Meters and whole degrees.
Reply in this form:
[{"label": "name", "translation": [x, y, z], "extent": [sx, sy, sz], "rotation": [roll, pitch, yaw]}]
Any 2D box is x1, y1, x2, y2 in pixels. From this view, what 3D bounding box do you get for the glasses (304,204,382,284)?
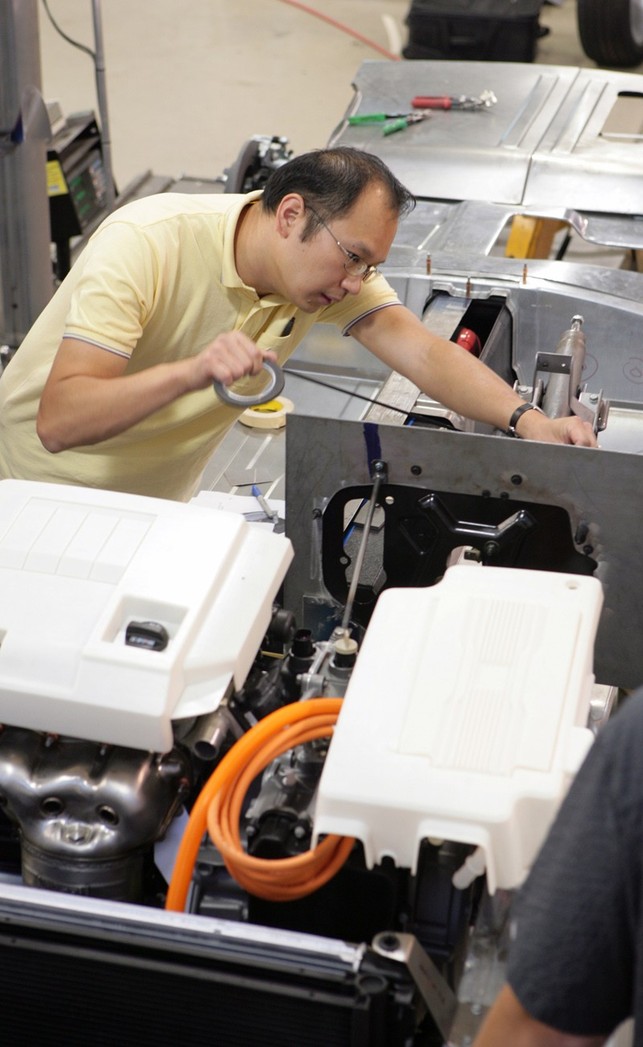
[{"label": "glasses", "translation": [0.036, -0.544, 1.527], "extent": [0.122, 0.037, 0.129], "rotation": [18, 46, -54]}]
